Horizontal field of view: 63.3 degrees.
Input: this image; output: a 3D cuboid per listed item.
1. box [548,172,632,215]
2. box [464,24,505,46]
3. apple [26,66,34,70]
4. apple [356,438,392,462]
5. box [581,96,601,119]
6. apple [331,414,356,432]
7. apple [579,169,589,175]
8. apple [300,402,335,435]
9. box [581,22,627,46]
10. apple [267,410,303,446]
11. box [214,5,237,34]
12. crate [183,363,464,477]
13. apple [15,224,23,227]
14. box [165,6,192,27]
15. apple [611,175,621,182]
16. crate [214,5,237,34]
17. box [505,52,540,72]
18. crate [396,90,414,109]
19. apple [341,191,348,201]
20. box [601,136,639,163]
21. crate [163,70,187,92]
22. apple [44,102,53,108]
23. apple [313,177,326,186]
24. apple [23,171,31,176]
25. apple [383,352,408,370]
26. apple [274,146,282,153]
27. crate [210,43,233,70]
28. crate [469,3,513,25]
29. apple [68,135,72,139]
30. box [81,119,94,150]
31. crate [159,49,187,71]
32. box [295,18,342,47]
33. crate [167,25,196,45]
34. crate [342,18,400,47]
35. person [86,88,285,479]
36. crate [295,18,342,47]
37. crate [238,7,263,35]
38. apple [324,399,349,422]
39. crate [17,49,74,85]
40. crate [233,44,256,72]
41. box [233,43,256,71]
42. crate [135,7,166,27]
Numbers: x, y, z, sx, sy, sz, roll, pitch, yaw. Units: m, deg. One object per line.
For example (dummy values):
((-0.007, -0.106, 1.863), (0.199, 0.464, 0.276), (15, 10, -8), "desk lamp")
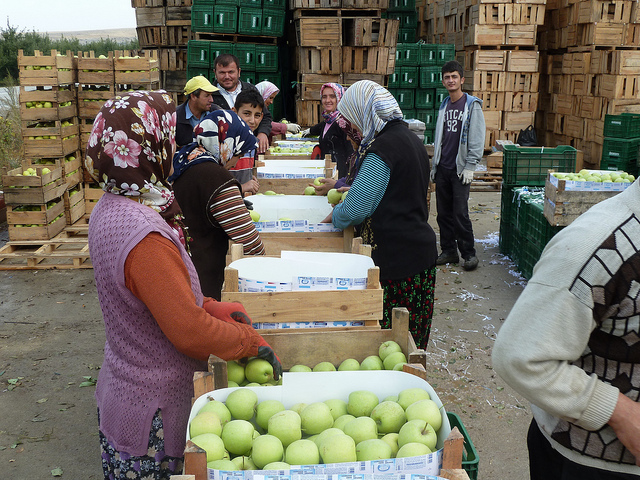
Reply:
((2.637, -0.469, 5.149), (0.689, 0.300, 0.704), (-2, 17, 2), "box")
((4.177, -5.135, 13.394), (0.700, 0.456, 0.712), (-1, 14, -2), "box")
((-4.577, -2.709, 8.164), (0.063, 0.036, 0.063), (0, 12, 2), "apple")
((0.208, 0.844, 2.095), (0.110, 0.091, 0.094), (-1, -8, 10), "apple")
((6.441, -3.168, 12.353), (0.300, 0.610, 0.615), (2, 11, 3), "box")
((0.105, 0.803, 2.309), (0.063, 0.079, 0.063), (32, -4, -2), "apple")
((3.371, -0.885, 6.648), (0.105, 0.089, 0.088), (4, -11, 4), "apple")
((-0.020, 0.789, 2.366), (0.151, 0.126, 0.126), (-26, -5, -8), "apple")
((6.799, -4.925, 12.393), (0.666, 0.436, 0.694), (0, 20, 1), "box")
((-0.147, 0.803, 2.277), (0.127, 0.152, 0.132), (-16, 11, -5), "apple")
((-2.088, -4.832, 11.474), (0.531, 0.553, 0.541), (-1, 15, -9), "box")
((-0.109, 0.759, 2.070), (0.656, 0.265, 0.656), (0, 15, -2), "crate")
((-4.713, -0.228, 8.097), (0.042, 0.033, 0.053), (-2, -4, 0), "apple")
((-3.465, -5.419, 12.560), (0.661, 0.422, 0.665), (-5, 19, -17), "box")
((3.569, -0.746, 6.264), (0.064, 0.066, 0.109), (-7, 10, 43), "apple")
((-2.087, -4.847, 11.441), (0.529, 0.540, 0.547), (13, 23, 27), "crate")
((5.161, -4.549, 13.260), (0.550, 0.387, 0.561), (0, 16, 2), "box")
((2.188, -3.660, 13.500), (0.455, 0.487, 0.287), (1, 19, 10), "crate")
((0.184, -0.351, 4.090), (0.065, 0.081, 0.066), (-1, 20, 4), "apple")
((5.966, -1.829, 10.390), (0.535, 0.342, 0.545), (7, 18, 36), "box")
((-3.614, -3.892, 12.676), (0.818, 0.514, 0.363), (11, 22, 34), "crate")
((-4.422, -2.196, 8.428), (0.104, 0.090, 0.089), (4, -25, -10), "apple")
((-0.013, -0.569, 5.001), (0.106, 0.085, 0.085), (5, -24, -1), "apple")
((-4.679, -1.068, 8.244), (0.079, 0.060, 0.104), (11, 10, -7), "apple")
((0.378, 0.618, 2.686), (0.093, 0.090, 0.092), (-21, -17, -23), "apple")
((-0.600, -1.276, 7.276), (0.094, 0.054, 0.119), (0, 28, -5), "apple")
((-2.210, -4.092, 11.561), (0.511, 0.333, 0.521), (0, 16, 0), "crate")
((4.294, -5.656, 13.177), (0.634, 0.413, 0.653), (2, 8, 2), "crate")
((-4.244, -1.750, 8.776), (0.060, 0.040, 0.033), (-2, 45, -11), "apple")
((-4.082, -1.833, 9.020), (0.204, 0.515, 0.296), (-10, 20, -23), "box")
((-3.563, -4.312, 12.587), (0.571, 0.388, 0.588), (0, 7, -1), "crate")
((-0.025, -4.471, 11.406), (0.660, 0.428, 0.671), (-1, 11, 0), "box")
((-3.408, -5.018, 12.491), (0.700, 0.448, 0.715), (-2, 15, -10), "crate")
((1.094, -4.560, 11.425), (0.858, 0.467, 0.869), (0, 13, -6), "crate")
((-0.759, 0.266, 2.433), (0.665, 1.832, 0.698), (-19, 25, -41), "person")
((-0.005, -4.526, 11.266), (0.672, 0.436, 0.680), (-2, 10, -3), "crate")
((-1.580, -4.898, 11.696), (0.556, 0.557, 0.559), (-1, 19, -12), "crate")
((0.072, 0.774, 2.412), (0.076, 0.078, 0.093), (28, 37, -8), "apple")
((-4.527, -2.861, 8.501), (0.615, 0.510, 0.875), (-4, 22, -16), "crate")
((-1.697, -4.079, 11.626), (0.523, 0.338, 0.524), (-5, 17, -22), "crate")
((-1.675, -4.082, 11.657), (0.539, 0.351, 0.552), (6, 12, 22), "box")
((-4.166, -5.491, 12.717), (0.547, 0.355, 0.560), (-4, 17, -11), "crate")
